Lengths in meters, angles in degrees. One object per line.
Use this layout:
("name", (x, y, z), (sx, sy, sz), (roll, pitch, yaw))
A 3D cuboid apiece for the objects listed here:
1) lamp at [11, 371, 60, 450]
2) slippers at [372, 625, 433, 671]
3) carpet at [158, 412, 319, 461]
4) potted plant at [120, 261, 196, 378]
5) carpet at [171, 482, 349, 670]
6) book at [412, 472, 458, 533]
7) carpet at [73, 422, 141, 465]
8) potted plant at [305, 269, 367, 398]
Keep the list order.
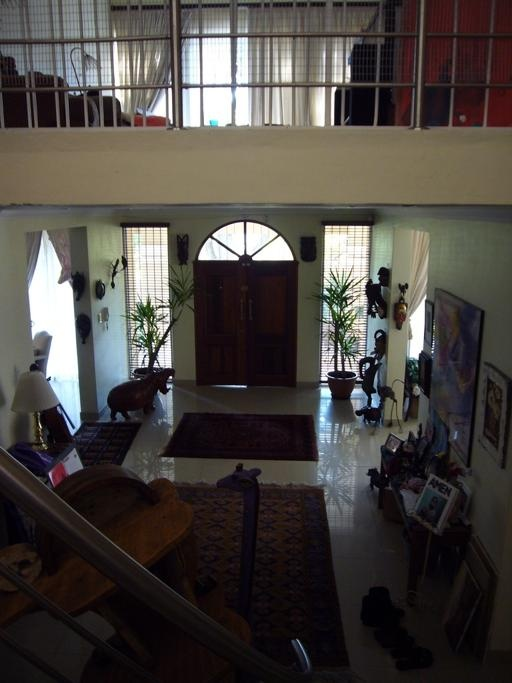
("lamp", (-2.115, 0.656, 4.619), (0.394, 0.773, 0.557), (-6, 13, -31))
("slippers", (1.004, 2.086, 3.305), (0.275, 0.087, 0.387), (-4, 14, -21))
("carpet", (-0.184, 1.313, 6.579), (2.018, 0.034, 1.332), (0, 14, -1))
("potted plant", (-1.694, -0.300, 8.183), (1.066, 1.840, 1.319), (3, 11, 14))
("carpet", (0.128, 1.927, 4.101), (0.863, 0.040, 2.518), (0, 16, -2))
("book", (1.384, 1.249, 3.706), (0.063, 0.443, 0.296), (32, -11, -27))
("carpet", (-2.009, 1.311, 6.428), (0.868, 0.074, 1.451), (-2, 14, -13))
("potted plant", (1.412, -0.123, 8.155), (0.722, 2.118, 1.201), (3, 11, 15))
